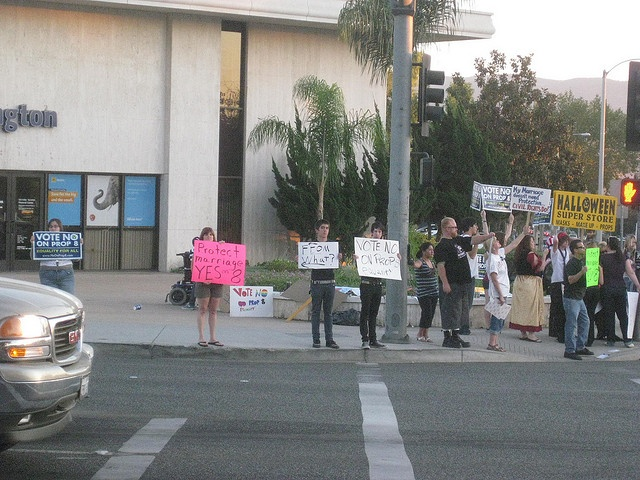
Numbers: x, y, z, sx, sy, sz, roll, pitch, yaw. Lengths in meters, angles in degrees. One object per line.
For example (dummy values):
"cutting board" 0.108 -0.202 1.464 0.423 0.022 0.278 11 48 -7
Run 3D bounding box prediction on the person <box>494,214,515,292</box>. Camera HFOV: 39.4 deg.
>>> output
"person" 3.782 0.421 18.358 0.465 1.883 0.663 -1 3 29

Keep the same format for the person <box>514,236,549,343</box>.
"person" 4.289 1.012 18.139 0.548 2.152 0.733 3 4 8

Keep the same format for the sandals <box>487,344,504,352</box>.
"sandals" 3.381 2.047 16.978 0.292 0.126 0.128 3 0 6

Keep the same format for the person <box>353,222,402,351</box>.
"person" 1.105 0.818 16.777 0.633 2.256 0.872 0 0 -6

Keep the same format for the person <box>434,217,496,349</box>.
"person" 2.765 0.805 17.152 1.049 2.432 0.653 -2 2 -9

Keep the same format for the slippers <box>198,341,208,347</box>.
"slippers" -2.094 1.875 16.102 0.197 0.088 0.138 0 8 -14

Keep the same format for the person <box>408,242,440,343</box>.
"person" 2.183 1.033 17.708 0.483 1.914 0.628 5 4 -4

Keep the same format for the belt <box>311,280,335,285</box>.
"belt" 0.063 0.775 16.301 0.414 0.122 0.114 1 7 -1

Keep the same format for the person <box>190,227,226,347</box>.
"person" -2.031 0.856 16.429 0.612 2.136 0.580 0 4 -23

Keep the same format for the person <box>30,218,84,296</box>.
"person" -5.043 0.678 17.411 0.940 2.384 0.712 -5 -7 -14

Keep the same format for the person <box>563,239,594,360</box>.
"person" 4.941 1.084 16.857 0.602 2.241 0.579 -2 3 -32

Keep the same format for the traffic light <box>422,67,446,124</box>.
"traffic light" 2.206 -2.801 17.376 0.443 1.025 1.289 2 7 7

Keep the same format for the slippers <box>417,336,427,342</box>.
"slippers" 2.020 1.927 17.425 0.177 0.087 0.233 1 8 0

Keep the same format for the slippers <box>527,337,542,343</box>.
"slippers" 4.401 2.046 18.148 0.190 0.082 0.109 -3 1 18
